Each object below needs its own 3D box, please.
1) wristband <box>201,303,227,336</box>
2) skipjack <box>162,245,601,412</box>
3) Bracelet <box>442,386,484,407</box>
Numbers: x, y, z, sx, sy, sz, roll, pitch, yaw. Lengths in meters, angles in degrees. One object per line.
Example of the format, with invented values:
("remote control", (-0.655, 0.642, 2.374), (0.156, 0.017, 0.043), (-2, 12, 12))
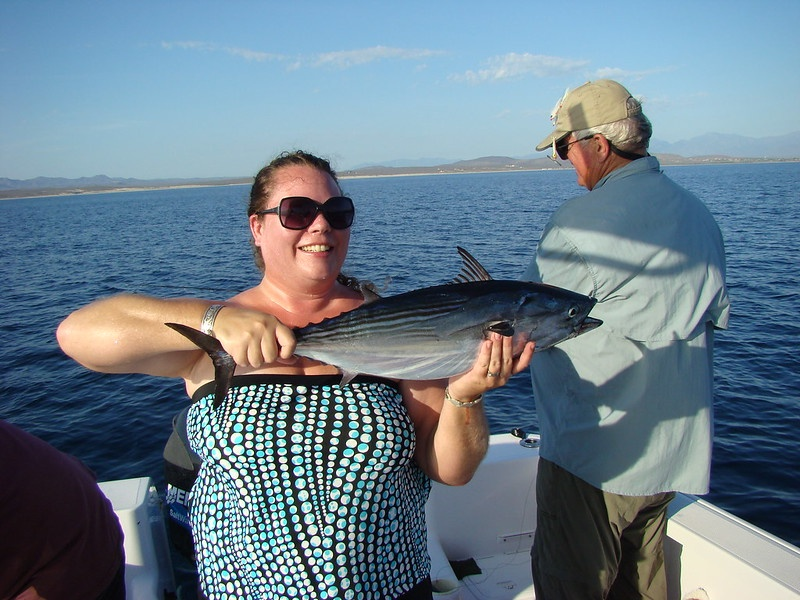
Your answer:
("wristband", (-0.919, 0.102, 2.842), (0.049, 0.135, 0.143), (17, -7, -2))
("skipjack", (0.004, 0.133, 3.015), (2.165, 0.643, 0.411), (-7, 9, -11))
("Bracelet", (0.323, 0.515, 2.977), (0.127, 0.031, 0.130), (7, 8, 38))
